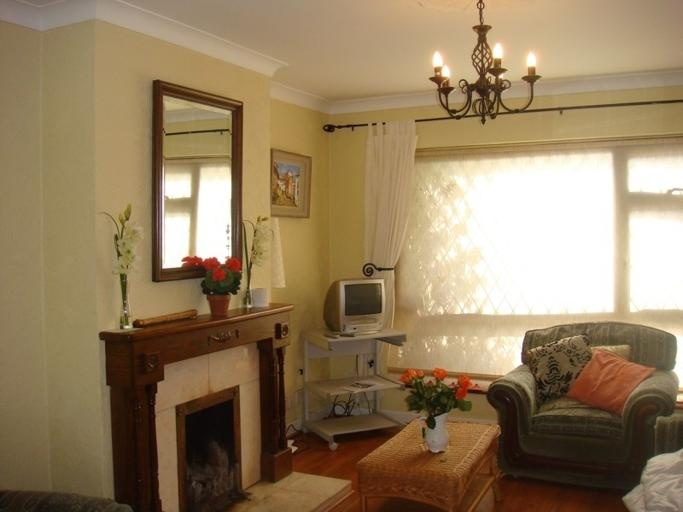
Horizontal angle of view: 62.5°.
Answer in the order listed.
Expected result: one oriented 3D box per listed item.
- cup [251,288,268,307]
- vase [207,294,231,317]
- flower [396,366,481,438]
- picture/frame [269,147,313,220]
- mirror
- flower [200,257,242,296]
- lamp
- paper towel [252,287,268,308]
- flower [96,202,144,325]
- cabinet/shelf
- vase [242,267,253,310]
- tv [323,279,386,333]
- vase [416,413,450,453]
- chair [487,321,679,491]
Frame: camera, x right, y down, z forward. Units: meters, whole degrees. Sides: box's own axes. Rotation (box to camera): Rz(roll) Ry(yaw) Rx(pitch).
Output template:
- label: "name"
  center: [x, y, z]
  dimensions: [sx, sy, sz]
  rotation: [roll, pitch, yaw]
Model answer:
- label: "cup"
  center: [-0.632, 0.309, 4.341]
  dimensions: [0.121, 0.133, 0.124]
  rotation: [1, 4, 0]
- label: "vase"
  center: [-0.862, 0.344, 3.941]
  dimensions: [0.160, 0.145, 0.137]
  rotation: [0, -7, -2]
- label: "flower"
  center: [0.653, 1.040, 3.901]
  dimensions: [0.481, 0.566, 0.554]
  rotation: [-2, -14, 20]
- label: "picture/frame"
  center: [-0.496, -0.682, 5.314]
  dimensions: [0.026, 0.567, 0.516]
  rotation: [9, 6, 40]
- label: "mirror"
  center: [-0.994, -0.501, 3.958]
  dimensions: [0.079, 1.315, 0.768]
  rotation: [1, 2, 37]
- label: "flower"
  center: [-0.834, 0.136, 3.957]
  dimensions: [0.272, 0.210, 0.295]
  rotation: [-2, 32, 1]
- label: "lamp"
  center: [1.028, -1.388, 3.955]
  dimensions: [0.684, 1.074, 0.786]
  rotation: [-1, 4, 20]
- label: "paper towel"
  center: [-0.624, 0.306, 4.316]
  dimensions: [0.119, 0.141, 0.128]
  rotation: [3, 8, 9]
- label: "flower"
  center: [-1.314, 0.058, 3.458]
  dimensions: [0.244, 0.761, 0.252]
  rotation: [2, 2, 43]
- label: "cabinet/shelf"
  center: [0.109, 1.190, 5.282]
  dimensions: [0.839, 1.014, 0.610]
  rotation: [0, 2, -34]
- label: "vase"
  center: [-0.721, 0.230, 4.301]
  dimensions: [0.064, 0.305, 0.155]
  rotation: [0, 2, -18]
- label: "tv"
  center: [0.131, 0.466, 5.412]
  dimensions: [0.545, 0.525, 0.412]
  rotation: [-2, 3, -32]
- label: "vase"
  center: [0.645, 1.161, 3.771]
  dimensions: [0.180, 0.250, 0.156]
  rotation: [-8, 6, 3]
- label: "chair"
  center: [1.975, 1.169, 4.541]
  dimensions: [1.347, 1.310, 1.175]
  rotation: [-3, -7, 30]
